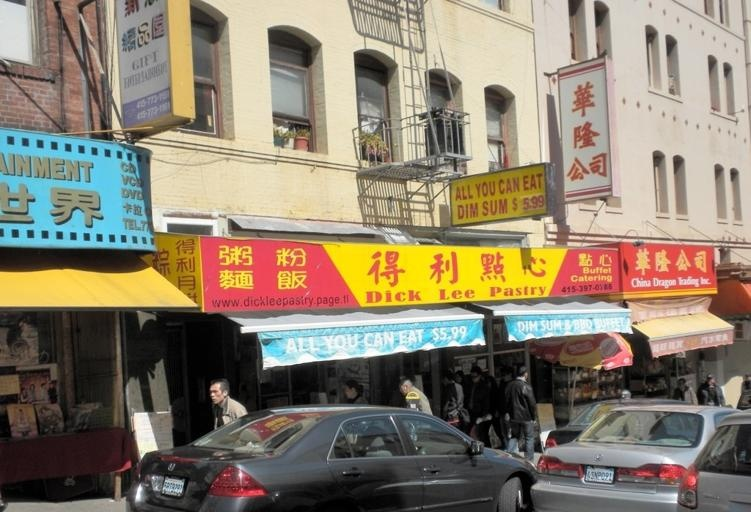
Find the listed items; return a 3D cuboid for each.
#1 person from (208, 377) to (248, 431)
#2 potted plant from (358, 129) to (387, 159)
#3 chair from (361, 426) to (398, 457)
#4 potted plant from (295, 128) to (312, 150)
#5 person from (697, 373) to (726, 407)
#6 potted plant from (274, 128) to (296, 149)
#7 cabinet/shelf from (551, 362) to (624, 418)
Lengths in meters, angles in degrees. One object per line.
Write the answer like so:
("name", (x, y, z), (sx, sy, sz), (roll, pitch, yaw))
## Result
("person", (-2.618, 2.661, 16.932), (0.577, 0.925, 0.958), (-5, 1, -39))
("potted plant", (-0.054, -2.514, 21.811), (0.655, 0.489, 0.658), (0, -2, 8))
("chair", (0.101, 2.887, 14.798), (0.365, 0.455, 0.477), (2, 1, -8))
("potted plant", (-1.615, -2.547, 21.036), (0.240, 0.588, 0.656), (-5, -4, 15))
("person", (8.820, 3.498, 25.113), (0.613, 0.709, 1.395), (-5, -4, 17))
("potted plant", (-1.988, -2.571, 20.769), (0.502, 0.453, 0.178), (0, -5, -41))
("cabinet/shelf", (5.201, 3.323, 23.813), (1.658, 1.576, 0.526), (2, -4, -45))
